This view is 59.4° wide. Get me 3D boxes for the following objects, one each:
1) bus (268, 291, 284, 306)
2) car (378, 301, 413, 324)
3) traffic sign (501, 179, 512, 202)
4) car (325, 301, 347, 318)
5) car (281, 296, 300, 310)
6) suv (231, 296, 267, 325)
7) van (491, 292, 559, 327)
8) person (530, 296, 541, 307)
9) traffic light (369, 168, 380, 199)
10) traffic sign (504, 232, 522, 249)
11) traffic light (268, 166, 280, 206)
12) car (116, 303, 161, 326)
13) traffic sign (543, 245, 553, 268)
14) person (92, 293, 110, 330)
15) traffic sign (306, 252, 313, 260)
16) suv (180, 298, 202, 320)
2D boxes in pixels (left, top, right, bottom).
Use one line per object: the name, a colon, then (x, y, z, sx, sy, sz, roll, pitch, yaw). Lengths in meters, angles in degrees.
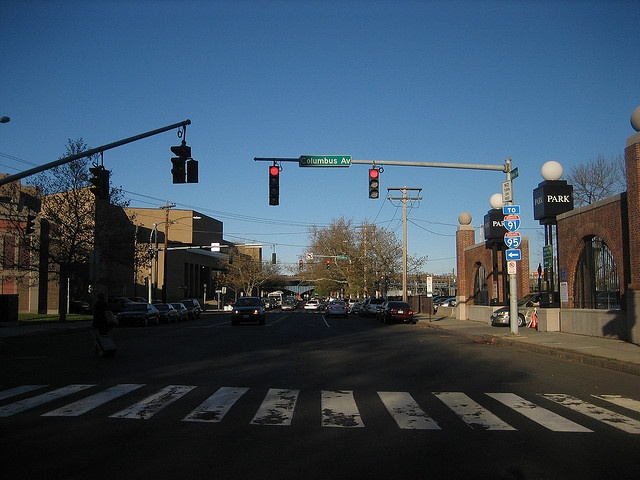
bus: (-8.377, 10.630, 103.739, 2.040, 2.422, 5.163, -1, -11, -3)
car: (5.530, 5.127, 40.735, 1.878, 1.573, 2.768, -1, -7, -8)
traffic sign: (8.375, -2.186, 25.237, 0.214, 1.008, 0.519, 0, -6, -14)
car: (1.529, 6.152, 51.216, 1.842, 1.622, 1.940, -4, -7, 18)
car: (-4.461, 9.007, 80.196, 1.562, 1.419, 3.923, -2, -10, 5)
suv: (-4.688, 4.548, 36.573, 1.977, 1.780, 2.743, -1, -7, -5)
van: (11.617, 3.930, 32.338, 2.833, 1.407, 1.749, 0, -8, 3)
person: (12.337, 3.452, 32.142, 0.465, 0.609, 1.040, -2, -7, 4)
traffic light: (2.187, -2.366, 22.943, 0.405, 1.253, 0.234, 0, -6, -10)
traffic sign: (8.500, -0.034, 24.828, 0.597, 0.770, 1.261, -4, -7, 19)
traffic light: (-1.814, -2.245, 22.137, 0.363, 1.581, 0.695, -1, -6, -9)
car: (-11.644, 4.784, 36.569, 1.158, 0.964, 2.894, -2, -10, 4)
traffic sign: (11.056, 0.734, 27.243, 0.397, 1.084, 0.855, -4, -7, 24)
person: (-7.006, 2.299, 17.941, 0.506, 1.309, 0.972, 1, -7, -22)
traffic sign: (-1.403, 1.932, 72.501, 1.014, 0.988, 0.141, 0, -6, 1)
suv: (-11.459, 6.063, 49.879, 0.998, 0.982, 2.264, -1, -12, 1)
